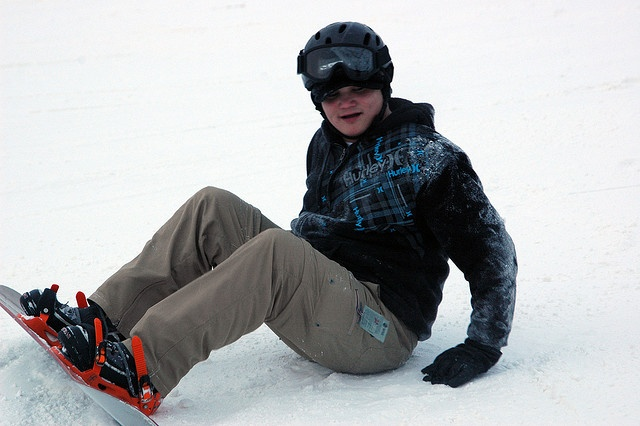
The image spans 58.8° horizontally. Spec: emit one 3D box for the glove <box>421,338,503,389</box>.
[{"bbox_3d":[0.954,1.011,3.820,0.500,0.136,0.271,-35,38,-11],"label":"glove"}]
